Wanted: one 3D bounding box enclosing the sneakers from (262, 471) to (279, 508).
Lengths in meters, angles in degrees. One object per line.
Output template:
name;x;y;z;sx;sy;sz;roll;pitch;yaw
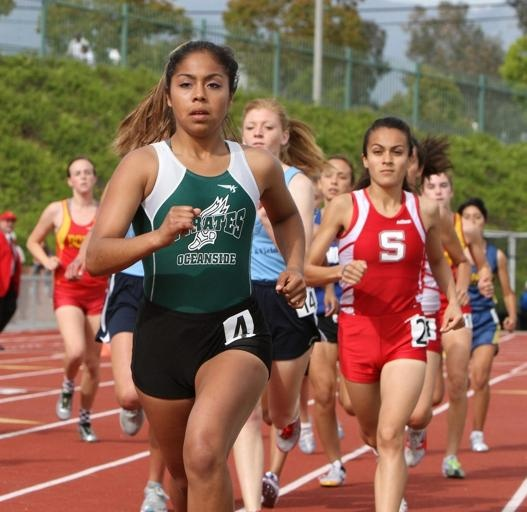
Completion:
sneakers;0.038;1.345;4.381;0.084;0.247;0.163;-1;-10;2

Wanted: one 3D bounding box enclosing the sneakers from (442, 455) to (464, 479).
sneakers;1.314;1.472;5.275;0.088;0.130;0.183;1;-17;1

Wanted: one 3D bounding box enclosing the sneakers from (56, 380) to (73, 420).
sneakers;-1.729;1.264;6.616;0.115;0.429;0.144;3;-4;-22

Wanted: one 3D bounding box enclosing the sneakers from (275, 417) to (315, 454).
sneakers;0.207;1.181;4.844;0.193;0.256;0.581;-3;-17;0
